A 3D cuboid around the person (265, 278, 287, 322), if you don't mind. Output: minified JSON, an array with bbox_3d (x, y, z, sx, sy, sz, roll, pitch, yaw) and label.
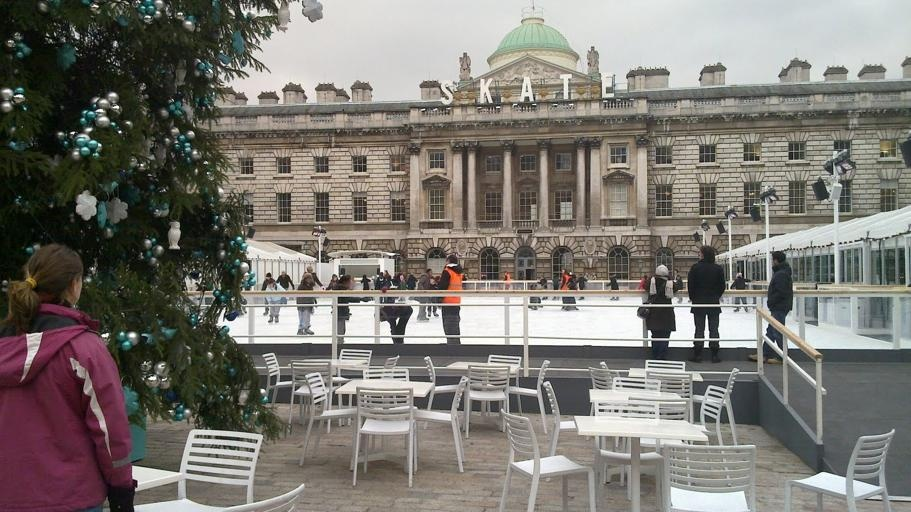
[{"bbox_3d":[-4.151,1.048,22.459,0.549,0.977,0.442,0,-11,-43],"label":"person"}]

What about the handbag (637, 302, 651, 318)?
[{"bbox_3d":[4.161,1.243,21.631,0.278,0.323,0.487,-2,-7,13],"label":"handbag"}]

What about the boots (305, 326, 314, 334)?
[{"bbox_3d":[-3.314,1.705,22.210,0.127,0.182,0.334,3,-7,-26],"label":"boots"}]

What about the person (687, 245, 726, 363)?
[{"bbox_3d":[5.582,1.029,21.765,0.802,2.685,1.499,-2,-7,13],"label":"person"}]

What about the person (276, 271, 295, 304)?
[{"bbox_3d":[-5.593,0.996,31.808,0.736,1.132,0.379,0,-11,-2],"label":"person"}]

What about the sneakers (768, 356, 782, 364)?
[{"bbox_3d":[6.843,2.250,20.960,0.282,0.107,0.102,-4,5,-30],"label":"sneakers"}]
